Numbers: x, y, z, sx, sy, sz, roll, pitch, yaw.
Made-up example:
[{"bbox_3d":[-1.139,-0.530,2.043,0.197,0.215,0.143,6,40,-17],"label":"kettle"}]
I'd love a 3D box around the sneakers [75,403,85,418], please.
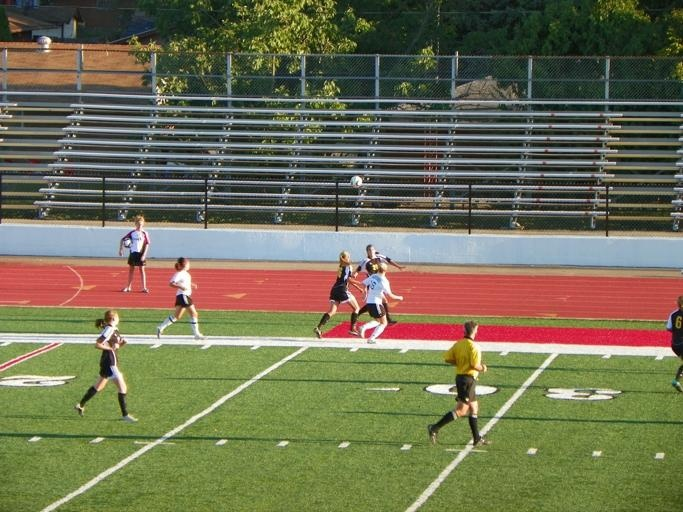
[{"bbox_3d":[-4.483,2.650,22.650,0.154,0.095,0.244,5,8,-3],"label":"sneakers"}]

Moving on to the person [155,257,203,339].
[{"bbox_3d":[-3.572,1.027,29.138,1.431,2.038,0.736,-4,28,-8],"label":"person"}]

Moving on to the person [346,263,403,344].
[{"bbox_3d":[0.746,0.902,27.150,0.772,1.814,1.354,0,15,1],"label":"person"}]

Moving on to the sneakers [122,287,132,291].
[{"bbox_3d":[-5.101,0.833,31.526,0.187,0.084,0.081,2,37,8],"label":"sneakers"}]

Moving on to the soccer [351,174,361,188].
[{"bbox_3d":[0.421,-1.973,36.357,0.290,0.366,0.371,4,36,4],"label":"soccer"}]

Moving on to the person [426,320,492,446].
[{"bbox_3d":[1.945,2.146,21.709,0.900,2.028,0.600,-2,15,-7],"label":"person"}]

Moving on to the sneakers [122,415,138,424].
[{"bbox_3d":[-3.592,2.825,22.587,0.205,0.089,0.114,4,13,8],"label":"sneakers"}]

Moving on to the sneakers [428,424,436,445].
[{"bbox_3d":[1.493,2.965,21.665,0.156,0.305,0.108,-8,0,0],"label":"sneakers"}]

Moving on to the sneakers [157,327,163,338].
[{"bbox_3d":[-3.673,1.584,26.749,0.110,0.216,0.080,17,25,22],"label":"sneakers"}]

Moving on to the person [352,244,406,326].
[{"bbox_3d":[0.828,0.730,29.660,1.249,1.722,0.609,-15,13,19],"label":"person"}]
